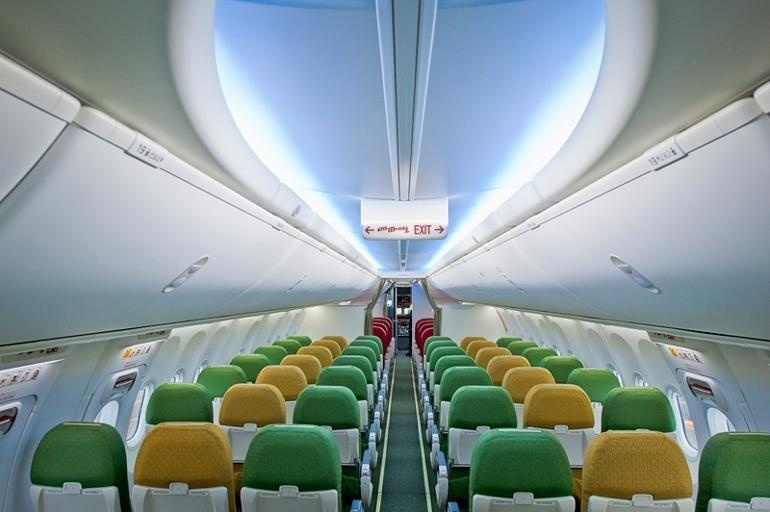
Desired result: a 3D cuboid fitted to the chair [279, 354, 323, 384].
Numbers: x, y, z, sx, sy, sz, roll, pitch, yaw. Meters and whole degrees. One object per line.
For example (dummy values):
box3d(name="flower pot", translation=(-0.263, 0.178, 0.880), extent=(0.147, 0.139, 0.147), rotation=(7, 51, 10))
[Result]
box3d(name="chair", translation=(-1.494, 2.039, 7.386), extent=(0.683, 0.622, 0.362), rotation=(1, -2, 1))

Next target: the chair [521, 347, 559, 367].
box3d(name="chair", translation=(3.443, 2.235, 9.281), extent=(0.557, 0.511, 0.448), rotation=(4, -25, -6))

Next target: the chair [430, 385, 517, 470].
box3d(name="chair", translation=(1.128, 2.182, 5.522), extent=(0.787, 1.013, 1.143), rotation=(1, -6, 2))

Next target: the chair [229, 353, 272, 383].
box3d(name="chair", translation=(-2.655, 2.075, 8.273), extent=(0.777, 0.716, 0.587), rotation=(1, -4, -2))

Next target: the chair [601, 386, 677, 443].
box3d(name="chair", translation=(3.081, 1.884, 5.133), extent=(0.889, 0.636, 0.675), rotation=(-1, -5, 9))

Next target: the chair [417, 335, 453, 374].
box3d(name="chair", translation=(1.459, 3.009, 12.397), extent=(1.124, 1.386, 1.225), rotation=(3, 4, 4))

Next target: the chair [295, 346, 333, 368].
box3d(name="chair", translation=(-1.623, 2.516, 9.545), extent=(0.841, 0.770, 0.466), rotation=(1, -5, -1))

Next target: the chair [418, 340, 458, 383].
box3d(name="chair", translation=(1.331, 2.697, 10.393), extent=(0.908, 1.270, 1.145), rotation=(3, -1, 5))

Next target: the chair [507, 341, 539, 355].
box3d(name="chair", translation=(3.493, 2.399, 10.778), extent=(0.524, 0.478, 0.424), rotation=(4, -19, -9))

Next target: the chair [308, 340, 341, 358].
box3d(name="chair", translation=(-1.642, 2.752, 11.424), extent=(0.887, 0.811, 0.494), rotation=(0, -7, 6))

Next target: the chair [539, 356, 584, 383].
box3d(name="chair", translation=(3.315, 2.112, 7.866), extent=(0.729, 0.534, 0.552), rotation=(2, 2, 7))

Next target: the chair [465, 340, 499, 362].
box3d(name="chair", translation=(2.501, 2.692, 11.074), extent=(0.926, 0.831, 0.487), rotation=(2, -8, -18))

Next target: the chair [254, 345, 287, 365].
box3d(name="chair", translation=(-2.575, 2.267, 9.370), extent=(0.528, 0.480, 0.296), rotation=(4, -3, -3))

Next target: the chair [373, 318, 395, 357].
box3d(name="chair", translation=(-0.088, 3.860, 20.239), extent=(1.051, 1.505, 1.422), rotation=(-1, -3, 3))
